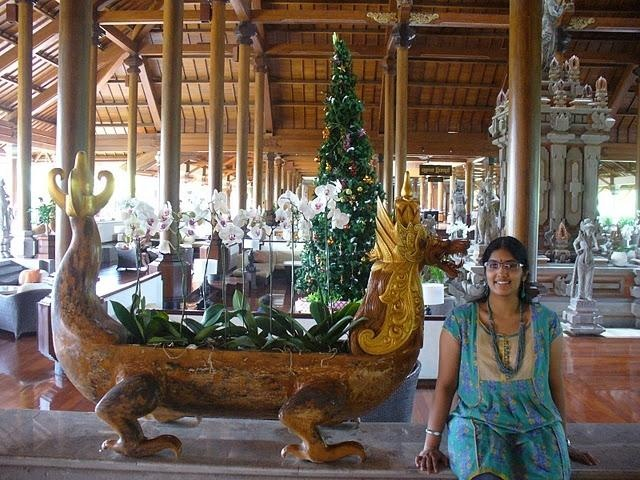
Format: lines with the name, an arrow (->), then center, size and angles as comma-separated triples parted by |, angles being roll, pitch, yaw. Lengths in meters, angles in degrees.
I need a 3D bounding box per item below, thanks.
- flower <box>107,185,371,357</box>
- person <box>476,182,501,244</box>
flower -> -0.230, 0.149, 2.539 | 1.015, 0.828, 1.272 | 2, 5, 13
person -> 1.992, -0.333, 6.287 | 0.271, 0.815, 0.275 | 0, -5, 28
